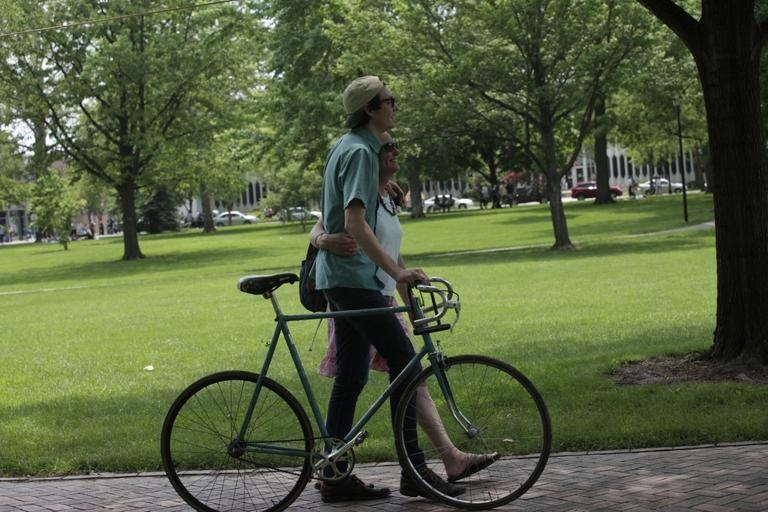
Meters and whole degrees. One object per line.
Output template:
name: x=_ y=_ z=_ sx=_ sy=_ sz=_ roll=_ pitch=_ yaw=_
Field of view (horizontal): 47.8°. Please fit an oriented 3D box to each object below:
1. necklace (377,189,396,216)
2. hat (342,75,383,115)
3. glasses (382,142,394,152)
necklace: x=0.048 y=-0.507 z=8.342 sx=0.162 sy=0.215 sz=0.107 roll=22 pitch=-57 yaw=-29
hat: x=-0.181 y=-1.505 z=8.121 sx=0.401 sy=0.208 sz=0.281 roll=-37 pitch=31 yaw=4
glasses: x=0.051 y=-1.028 z=8.154 sx=0.032 sy=0.096 sz=0.093 roll=4 pitch=2 yaw=21
